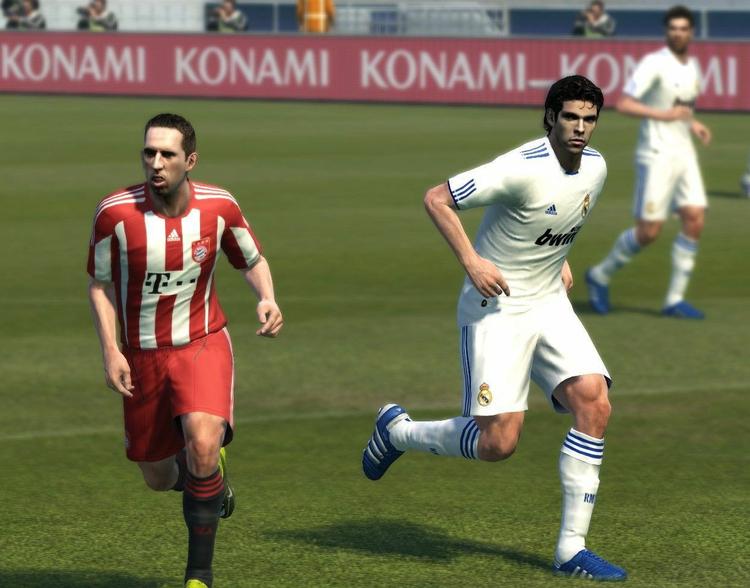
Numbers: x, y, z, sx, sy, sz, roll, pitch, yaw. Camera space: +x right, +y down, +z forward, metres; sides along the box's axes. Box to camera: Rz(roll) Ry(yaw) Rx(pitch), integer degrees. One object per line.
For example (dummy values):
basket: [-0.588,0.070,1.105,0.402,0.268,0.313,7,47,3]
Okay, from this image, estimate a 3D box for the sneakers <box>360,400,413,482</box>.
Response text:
sneakers: [0.048,0.792,8.792,0.219,0.479,0.177,16,30,-9]

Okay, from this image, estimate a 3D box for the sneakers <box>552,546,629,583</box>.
sneakers: [1.058,1.334,7.916,0.277,0.102,0.138,-1,-3,17]
